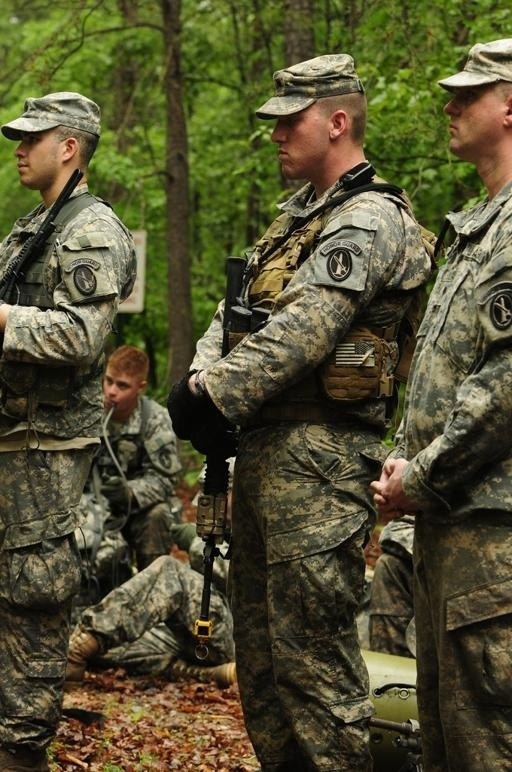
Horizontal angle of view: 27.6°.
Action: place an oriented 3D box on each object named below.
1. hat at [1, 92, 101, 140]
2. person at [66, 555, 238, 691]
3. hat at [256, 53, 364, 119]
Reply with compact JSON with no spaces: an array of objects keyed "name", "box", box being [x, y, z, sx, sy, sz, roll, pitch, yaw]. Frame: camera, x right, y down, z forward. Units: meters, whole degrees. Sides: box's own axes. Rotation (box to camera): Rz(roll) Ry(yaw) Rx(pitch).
[{"name":"hat","box":[-0.787,-1.034,4.019,0.336,0.137,0.204,0,-3,-20]},{"name":"person","box":[-0.526,1.206,5.109,0.853,0.293,0.556,-5,-23,-31]},{"name":"hat","box":[0.177,-1.021,3.533,0.342,0.151,0.209,-11,7,-8]}]
